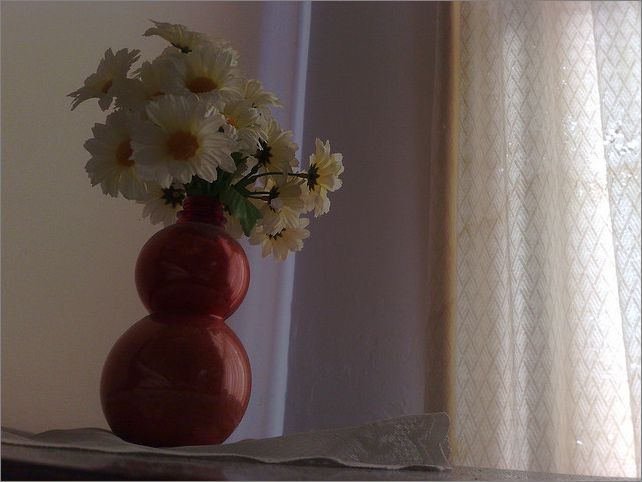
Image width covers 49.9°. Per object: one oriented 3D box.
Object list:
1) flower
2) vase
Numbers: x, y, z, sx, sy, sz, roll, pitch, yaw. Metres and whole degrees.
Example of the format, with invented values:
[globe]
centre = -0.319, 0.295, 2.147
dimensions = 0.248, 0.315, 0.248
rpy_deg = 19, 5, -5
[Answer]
[flower]
centre = -0.231, -0.213, 1.455
dimensions = 0.576, 0.491, 0.290
rpy_deg = 3, 4, -21
[vase]
centre = -0.290, 0.206, 1.455
dimensions = 0.278, 0.579, 0.293
rpy_deg = 19, -31, -32
